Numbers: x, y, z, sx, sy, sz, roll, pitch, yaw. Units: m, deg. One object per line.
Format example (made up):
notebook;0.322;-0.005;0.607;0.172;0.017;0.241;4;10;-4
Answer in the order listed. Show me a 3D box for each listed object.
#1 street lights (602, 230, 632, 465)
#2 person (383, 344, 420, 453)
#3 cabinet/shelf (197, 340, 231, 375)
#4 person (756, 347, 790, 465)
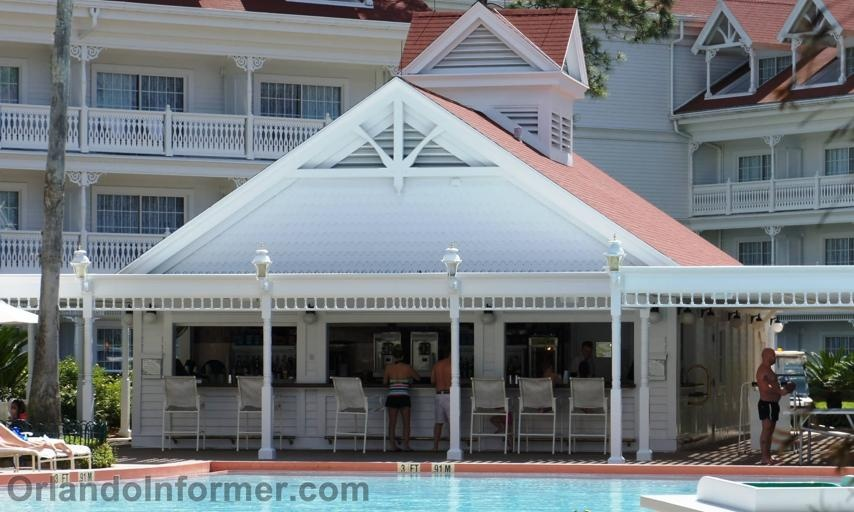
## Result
street lights;5.096;2.537;47.752;0.810;6.126;0.956;-3;-4;22
person;-0.676;3.934;49.376;1.080;2.663;0.880;0;1;4
cabinet/shelf;-6.082;2.861;51.523;1.078;0.906;0.556;-1;-5;16
person;9.411;3.969;47.976;1.177;3.058;1.267;1;-1;17
